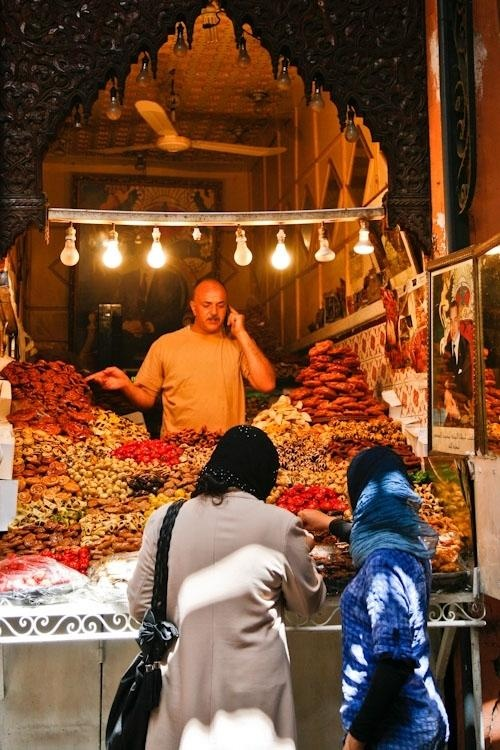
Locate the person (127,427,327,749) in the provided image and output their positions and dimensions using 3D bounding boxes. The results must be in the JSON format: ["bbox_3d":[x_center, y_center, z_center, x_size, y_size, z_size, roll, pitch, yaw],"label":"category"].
[{"bbox_3d":[-0.030,0.542,1.650,0.366,0.740,0.451,4,14,19],"label":"person"}]

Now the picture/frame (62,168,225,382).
[{"bbox_3d":[-1.621,-1.410,9.758,2.258,0.141,3.340,0,-51,-15],"label":"picture/frame"}]
